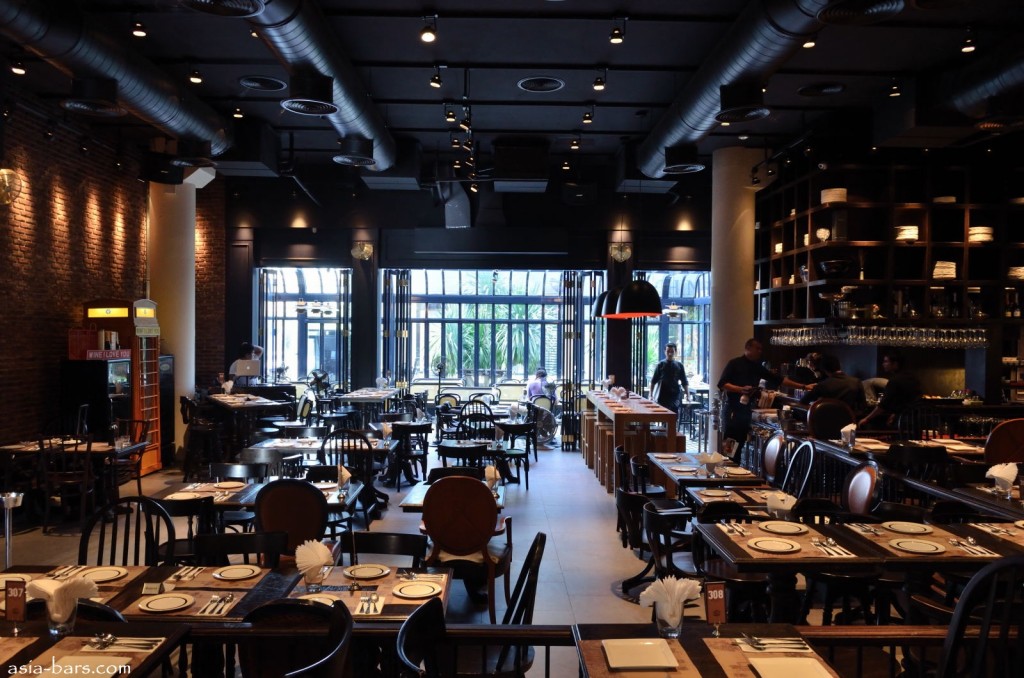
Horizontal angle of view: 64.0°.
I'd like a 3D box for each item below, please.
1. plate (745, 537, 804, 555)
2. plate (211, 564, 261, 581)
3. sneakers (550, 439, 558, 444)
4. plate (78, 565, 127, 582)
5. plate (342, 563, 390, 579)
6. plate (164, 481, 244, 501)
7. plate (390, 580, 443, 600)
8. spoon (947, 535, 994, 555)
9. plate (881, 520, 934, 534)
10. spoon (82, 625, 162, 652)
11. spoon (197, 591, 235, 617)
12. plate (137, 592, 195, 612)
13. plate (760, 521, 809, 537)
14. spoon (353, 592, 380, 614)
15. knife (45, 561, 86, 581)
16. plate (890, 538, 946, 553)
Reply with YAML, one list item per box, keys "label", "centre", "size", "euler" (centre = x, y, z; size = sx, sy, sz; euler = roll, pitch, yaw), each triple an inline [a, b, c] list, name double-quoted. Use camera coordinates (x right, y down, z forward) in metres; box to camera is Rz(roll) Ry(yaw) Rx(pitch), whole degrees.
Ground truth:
- label: "plate"
  centre: [2.073, 1.642, 6.517]
  size: [0.413, 0.082, 0.282]
  euler: [-1, -2, 3]
- label: "plate"
  centre: [-2.098, 1.785, 6.247]
  size: [0.347, 0.074, 0.256]
  euler: [-1, -2, -20]
- label: "sneakers"
  centre: [0.777, 1.968, 15.662]
  size: [0.130, 0.048, 0.122]
  euler: [0, 0, 5]
- label: "plate"
  centre: [-3.059, 1.774, 6.180]
  size: [0.328, 0.074, 0.258]
  euler: [-1, -2, -13]
- label: "plate"
  centre: [-1.108, 1.786, 6.291]
  size: [0.343, 0.079, 0.252]
  euler: [-1, -2, -2]
- label: "plate"
  centre: [-3.031, 1.517, 8.157]
  size: [0.746, 0.102, 0.697]
  euler: [-1, -2, -19]
- label: "plate"
  centre: [-0.694, 1.855, 6.034]
  size: [0.361, 0.081, 0.255]
  euler: [-1, -2, 0]
- label: "spoon"
  centre: [3.614, 1.645, 6.479]
  size: [0.240, 0.113, 0.397]
  euler: [-2, -2, 4]
- label: "plate"
  centre: [3.280, 1.574, 6.815]
  size: [0.376, 0.077, 0.205]
  euler: [-2, -2, 17]
- label: "spoon"
  centre: [-2.530, 1.949, 5.332]
  size: [0.342, 0.045, 0.175]
  euler: [2, 4, -5]
- label: "spoon"
  centre: [-2.084, 1.895, 5.836]
  size: [0.229, 0.088, 0.268]
  euler: [-2, -2, 10]
- label: "plate"
  centre: [-2.462, 1.888, 5.856]
  size: [0.381, 0.087, 0.195]
  euler: [-1, -2, -2]
- label: "plate"
  centre: [2.251, 1.579, 6.797]
  size: [0.386, 0.078, 0.203]
  euler: [-2, -2, 16]
- label: "spoon"
  centre: [-1.026, 1.902, 5.871]
  size: [0.191, 0.081, 0.242]
  euler: [-1, -2, -4]
- label: "knife"
  centre: [-3.353, 1.762, 6.194]
  size: [0.146, 0.031, 0.226]
  euler: [2, 0, -5]
- label: "plate"
  centre: [3.196, 1.642, 6.477]
  size: [0.394, 0.084, 0.260]
  euler: [-2, -2, 9]
